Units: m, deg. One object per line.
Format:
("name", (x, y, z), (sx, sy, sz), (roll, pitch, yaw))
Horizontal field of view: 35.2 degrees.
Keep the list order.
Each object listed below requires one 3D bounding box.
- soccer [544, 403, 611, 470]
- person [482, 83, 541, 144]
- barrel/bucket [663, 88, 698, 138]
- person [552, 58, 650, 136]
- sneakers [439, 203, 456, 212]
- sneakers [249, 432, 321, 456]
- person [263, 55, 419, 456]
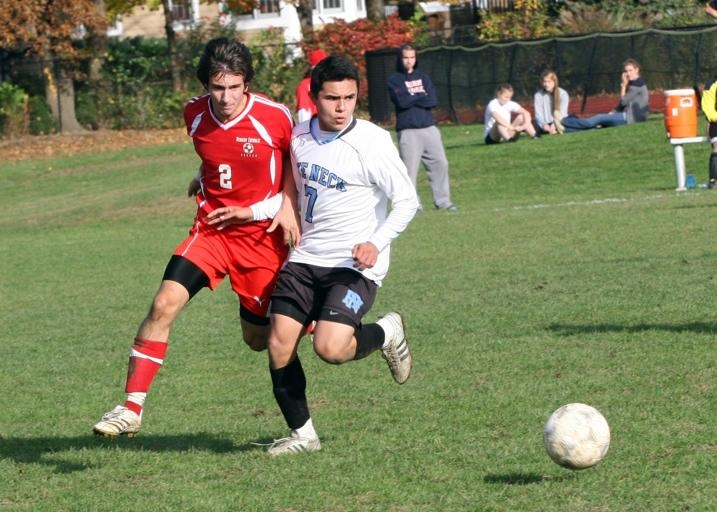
("soccer", (1.928, 1.583, 9.988), (0.662, 0.636, 0.642), (-4, 11, 3))
("person", (3.096, -2.843, 22.799), (0.934, 1.158, 1.170), (-10, 17, -25))
("barrel/bucket", (4.857, -2.144, 16.987), (0.442, 0.727, 0.376), (-3, 7, 14))
("person", (4.880, -2.992, 22.348), (1.757, 0.970, 0.857), (0, 8, 30))
("sneakers", (1.368, -0.758, 17.299), (0.267, 0.107, 0.104), (0, 7, 2))
("sneakers", (-0.661, 1.715, 10.388), (0.694, 0.234, 0.209), (-2, -1, -2))
("person", (-0.177, -0.044, 10.376), (1.459, 3.528, 0.714), (-5, 7, -5))
